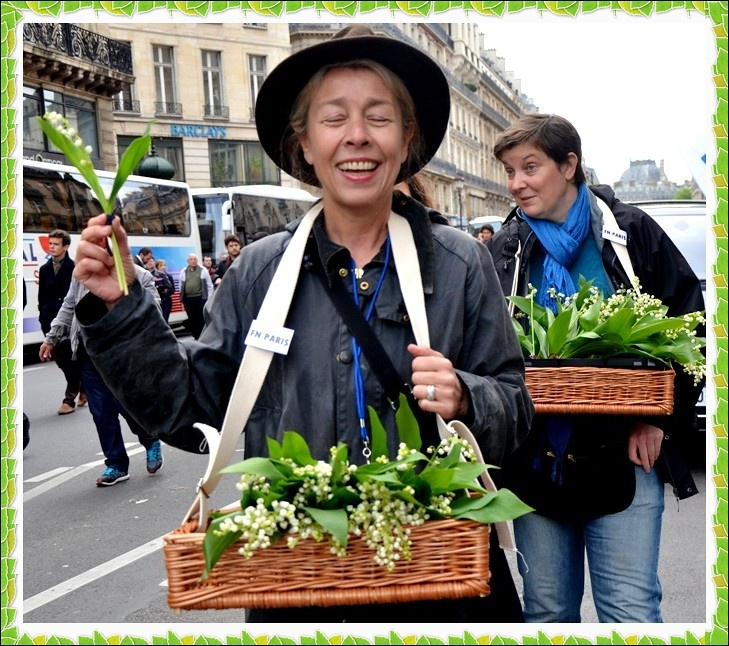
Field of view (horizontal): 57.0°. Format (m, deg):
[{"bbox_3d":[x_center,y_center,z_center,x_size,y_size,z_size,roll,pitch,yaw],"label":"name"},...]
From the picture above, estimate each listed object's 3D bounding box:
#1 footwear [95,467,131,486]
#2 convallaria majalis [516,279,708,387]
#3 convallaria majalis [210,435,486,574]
[{"bbox_3d":[-2.485,1.518,6.637,0.116,0.146,0.321,-9,-15,24],"label":"footwear"},{"bbox_3d":[0.921,0.027,2.543,0.588,0.263,0.401,4,7,13],"label":"convallaria majalis"},{"bbox_3d":[-0.042,0.369,1.426,0.371,0.159,0.358,-5,6,-39],"label":"convallaria majalis"}]
